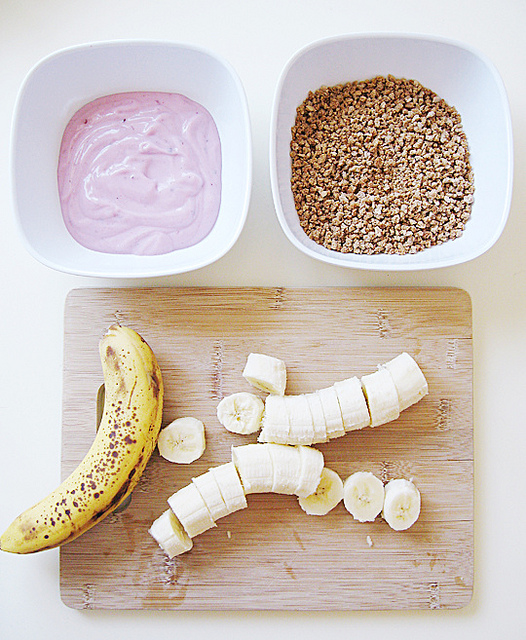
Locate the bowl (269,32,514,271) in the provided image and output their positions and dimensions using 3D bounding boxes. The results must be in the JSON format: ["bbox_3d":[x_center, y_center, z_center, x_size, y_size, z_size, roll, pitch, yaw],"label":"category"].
[{"bbox_3d":[0.281,-0.359,1.594,0.526,0.216,0.506,-1,75,4],"label":"bowl"}]

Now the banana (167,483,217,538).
[{"bbox_3d":[-0.156,0.423,1.601,0.090,0.063,0.155,-19,42,-14],"label":"banana"}]

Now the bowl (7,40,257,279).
[{"bbox_3d":[-0.278,-0.327,1.625,0.516,0.299,0.496,-1,75,4],"label":"bowl"}]

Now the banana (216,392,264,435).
[{"bbox_3d":[-0.053,0.203,1.640,0.099,0.031,0.095,-21,91,4],"label":"banana"}]

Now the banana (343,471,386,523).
[{"bbox_3d":[0.228,0.402,1.635,0.099,0.029,0.102,-1,91,-2],"label":"banana"}]

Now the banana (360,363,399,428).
[{"bbox_3d":[0.262,0.172,1.654,0.104,0.116,0.100,-18,51,-15],"label":"banana"}]

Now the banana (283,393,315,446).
[{"bbox_3d":[0.081,0.223,1.613,0.064,0.055,0.108,-4,75,3],"label":"banana"}]

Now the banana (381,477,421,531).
[{"bbox_3d":[0.316,0.420,1.636,0.087,0.031,0.109,11,92,-4],"label":"banana"}]

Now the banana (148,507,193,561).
[{"bbox_3d":[-0.204,0.483,1.656,0.050,0.107,0.116,-35,89,8],"label":"banana"}]

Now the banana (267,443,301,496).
[{"bbox_3d":[0.047,0.330,1.585,0.091,0.028,0.094,7,86,-7],"label":"banana"}]

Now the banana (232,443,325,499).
[{"bbox_3d":[0.032,0.332,1.607,0.198,0.061,0.111,1,75,5],"label":"banana"}]

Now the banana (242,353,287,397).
[{"bbox_3d":[0.010,0.126,1.646,0.100,0.081,0.074,17,77,9],"label":"banana"}]

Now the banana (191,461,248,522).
[{"bbox_3d":[-0.090,0.379,1.591,0.119,0.047,0.120,-22,81,0],"label":"banana"}]

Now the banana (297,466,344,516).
[{"bbox_3d":[0.138,0.384,1.647,0.107,0.028,0.099,0,89,-6],"label":"banana"}]

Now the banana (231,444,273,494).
[{"bbox_3d":[-0.019,0.331,1.603,0.084,0.047,0.103,-10,75,2],"label":"banana"}]

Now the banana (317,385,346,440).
[{"bbox_3d":[0.152,0.208,1.602,0.044,0.120,0.117,-12,90,1],"label":"banana"}]

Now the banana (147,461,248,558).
[{"bbox_3d":[-0.143,0.411,1.669,0.270,0.089,0.144,-40,110,-1],"label":"banana"}]

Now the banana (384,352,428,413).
[{"bbox_3d":[0.324,0.136,1.605,0.116,0.034,0.112,-35,103,-11],"label":"banana"}]

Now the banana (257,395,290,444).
[{"bbox_3d":[0.028,0.224,1.595,0.094,0.038,0.088,-4,98,-6],"label":"banana"}]

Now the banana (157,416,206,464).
[{"bbox_3d":[-0.187,0.279,1.652,0.118,0.037,0.112,1,97,-2],"label":"banana"}]
